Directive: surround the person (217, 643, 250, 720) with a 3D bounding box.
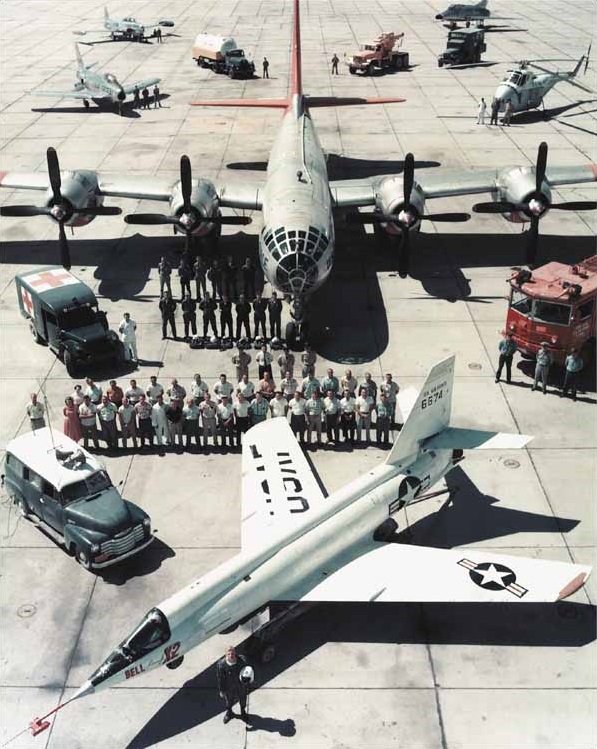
[{"bbox_3d":[-1.033,5.122,15.494,0.470,1.259,0.419,-7,17,-11],"label":"person"}]

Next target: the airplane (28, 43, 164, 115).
[{"bbox_3d":[-10.146,-15.823,51.451,6.117,2.394,5.905,-23,49,-27],"label":"airplane"}]

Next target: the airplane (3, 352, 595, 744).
[{"bbox_3d":[0.642,3.334,16.883,8.261,2.375,6.747,-25,34,-36],"label":"airplane"}]

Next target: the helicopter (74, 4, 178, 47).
[{"bbox_3d":[-13.555,-26.656,72.325,6.612,2.032,5.972,-23,49,-29],"label":"helicopter"}]

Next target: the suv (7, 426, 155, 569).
[{"bbox_3d":[-4.624,2.478,19.290,1.826,1.694,3.982,-33,60,-33],"label":"suv"}]

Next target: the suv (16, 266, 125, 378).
[{"bbox_3d":[-6.366,-1.773,25.531,1.821,1.914,3.979,-27,56,-29],"label":"suv"}]

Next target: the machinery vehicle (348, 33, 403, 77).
[{"bbox_3d":[4.489,-19.693,58.910,3.365,3.272,2.982,20,38,30],"label":"machinery vehicle"}]
